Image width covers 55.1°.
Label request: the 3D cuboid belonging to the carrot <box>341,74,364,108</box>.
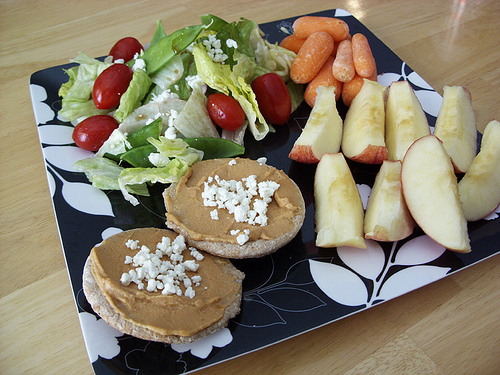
[{"bbox_3d":[0.562,-0.520,2.624,0.115,0.091,0.155,0,75,33],"label":"carrot"}]

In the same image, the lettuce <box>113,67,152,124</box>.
[{"bbox_3d":[-0.594,-0.509,2.551,0.215,0.333,0.111,-18,77,-26],"label":"lettuce"}]

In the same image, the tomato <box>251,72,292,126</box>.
[{"bbox_3d":[0.099,-0.512,2.703,0.258,0.272,0.361,-10,16,-15],"label":"tomato"}]

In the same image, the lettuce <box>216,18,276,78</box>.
[{"bbox_3d":[-0.010,-0.831,2.683,0.350,0.140,0.327,11,28,3],"label":"lettuce"}]

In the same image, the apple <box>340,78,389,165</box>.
[{"bbox_3d":[0.586,-0.330,2.401,0.212,0.137,0.439,7,57,18],"label":"apple"}]

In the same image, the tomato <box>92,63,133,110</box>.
[{"bbox_3d":[-0.705,-0.526,2.518,0.160,0.142,0.240,28,73,15],"label":"tomato"}]

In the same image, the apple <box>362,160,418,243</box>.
[{"bbox_3d":[0.613,0.070,2.133,0.235,0.140,0.357,0,55,21],"label":"apple"}]

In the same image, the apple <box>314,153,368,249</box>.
[{"bbox_3d":[0.390,0.062,2.153,0.209,0.133,0.438,-5,57,9],"label":"apple"}]

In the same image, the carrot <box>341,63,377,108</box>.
[{"bbox_3d":[0.600,-0.563,2.641,0.113,0.130,0.235,11,56,19],"label":"carrot"}]

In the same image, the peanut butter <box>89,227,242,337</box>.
[{"bbox_3d":[-0.355,0.372,1.946,0.588,0.178,0.435,21,61,19],"label":"peanut butter"}]

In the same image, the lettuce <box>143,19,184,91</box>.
[{"bbox_3d":[-0.450,-0.727,2.537,0.238,0.078,0.383,-8,94,10],"label":"lettuce"}]

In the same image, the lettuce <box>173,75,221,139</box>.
[{"bbox_3d":[-0.285,-0.390,2.443,0.201,0.075,0.301,-12,66,-42],"label":"lettuce"}]

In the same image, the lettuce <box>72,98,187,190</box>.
[{"bbox_3d":[-0.575,-0.245,2.390,0.310,0.144,0.552,43,72,10],"label":"lettuce"}]

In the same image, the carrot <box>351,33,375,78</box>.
[{"bbox_3d":[0.598,-0.723,2.645,0.110,0.096,0.260,-8,54,-3],"label":"carrot"}]

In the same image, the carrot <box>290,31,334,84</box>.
[{"bbox_3d":[0.336,-0.703,2.673,0.333,0.153,0.152,-50,29,-14],"label":"carrot"}]

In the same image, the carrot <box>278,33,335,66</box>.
[{"bbox_3d":[0.334,-0.846,2.879,0.337,0.163,0.159,27,21,23],"label":"carrot"}]

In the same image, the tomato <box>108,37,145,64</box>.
[{"bbox_3d":[-0.690,-0.762,2.725,0.172,0.097,0.134,-34,69,-19],"label":"tomato"}]

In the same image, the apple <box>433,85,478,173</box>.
[{"bbox_3d":[1.037,-0.293,2.420,0.218,0.144,0.473,2,65,15],"label":"apple"}]

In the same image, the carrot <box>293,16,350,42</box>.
[{"bbox_3d":[0.416,-0.904,2.786,0.295,0.140,0.131,11,95,10],"label":"carrot"}]

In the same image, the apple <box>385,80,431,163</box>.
[{"bbox_3d":[0.810,-0.300,2.479,0.217,0.130,0.428,-13,65,23],"label":"apple"}]

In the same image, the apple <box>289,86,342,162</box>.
[{"bbox_3d":[0.338,-0.316,2.448,0.200,0.158,0.449,9,51,30],"label":"apple"}]

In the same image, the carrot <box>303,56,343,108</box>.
[{"bbox_3d":[0.419,-0.581,2.641,0.139,0.122,0.302,16,55,27],"label":"carrot"}]

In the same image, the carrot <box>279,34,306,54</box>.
[{"bbox_3d":[0.248,-0.861,2.833,0.126,0.073,0.100,-7,41,0],"label":"carrot"}]

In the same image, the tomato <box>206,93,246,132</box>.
[{"bbox_3d":[-0.123,-0.393,2.519,0.143,0.125,0.210,-35,75,-19],"label":"tomato"}]
